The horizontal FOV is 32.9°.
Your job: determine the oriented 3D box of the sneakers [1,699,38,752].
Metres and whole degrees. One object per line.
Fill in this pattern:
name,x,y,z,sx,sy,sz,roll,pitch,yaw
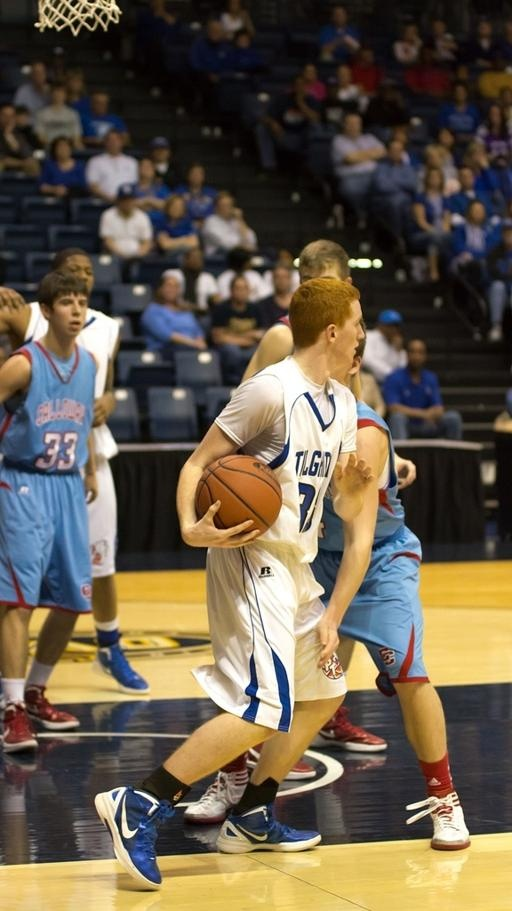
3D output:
sneakers,-0.767,0.897,2.818,0.076,0.097,0.212,2,-8,-17

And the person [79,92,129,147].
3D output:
person,-2.168,-4.612,12.012,0.716,0.480,0.830,-2,-42,-16

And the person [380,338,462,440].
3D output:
person,1.764,-0.545,9.242,0.809,1.301,0.835,-1,6,2

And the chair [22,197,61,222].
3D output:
chair,-2.660,-3.062,10.811,0.589,0.302,0.516,3,10,-13

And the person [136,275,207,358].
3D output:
person,-0.860,-1.495,9.294,0.596,0.894,0.871,-3,3,-38

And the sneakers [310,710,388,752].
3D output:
sneakers,0.317,0.962,3.034,0.290,0.167,0.105,2,-2,17

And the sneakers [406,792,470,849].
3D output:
sneakers,0.431,0.862,2.074,0.108,0.072,0.170,-8,-12,3

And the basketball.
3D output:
basketball,-0.031,0.075,1.781,0.153,0.158,0.164,13,-23,15

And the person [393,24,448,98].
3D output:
person,2.890,-6.881,15.160,0.992,1.630,0.761,0,-3,12

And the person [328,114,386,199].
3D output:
person,1.441,-4.242,12.292,0.730,1.232,0.427,1,-3,4

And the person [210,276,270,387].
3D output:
person,-0.128,-1.281,9.201,0.530,1.218,0.662,-6,7,-19

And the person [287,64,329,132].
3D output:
person,0.808,-5.323,12.963,0.663,1.038,0.431,3,-4,-41

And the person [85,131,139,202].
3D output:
person,-1.821,-3.674,11.090,0.705,0.993,0.567,-6,11,-25

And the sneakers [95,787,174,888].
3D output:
sneakers,-0.240,0.739,1.686,0.144,0.175,0.066,1,-3,-6

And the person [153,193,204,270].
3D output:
person,-0.942,-2.784,10.728,0.530,0.748,0.325,3,-3,-34

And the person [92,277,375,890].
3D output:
person,0.016,0.255,1.896,0.357,1.300,0.678,-1,-4,40

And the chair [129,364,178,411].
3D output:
chair,-1.092,-0.792,9.057,0.610,0.607,0.348,-2,12,-8

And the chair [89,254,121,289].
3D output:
chair,-1.759,-2.174,10.198,0.421,0.433,0.412,1,8,2

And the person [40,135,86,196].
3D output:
person,-2.504,-3.707,11.209,0.631,0.828,0.498,-7,11,-17

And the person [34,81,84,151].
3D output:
person,-2.678,-4.543,11.635,0.677,0.954,0.545,-2,10,-12

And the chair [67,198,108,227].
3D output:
chair,-2.107,-3.030,11.016,0.396,0.547,0.398,2,10,-2

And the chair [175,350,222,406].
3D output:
chair,-0.499,-0.838,9.191,0.489,0.695,0.509,0,-1,0
